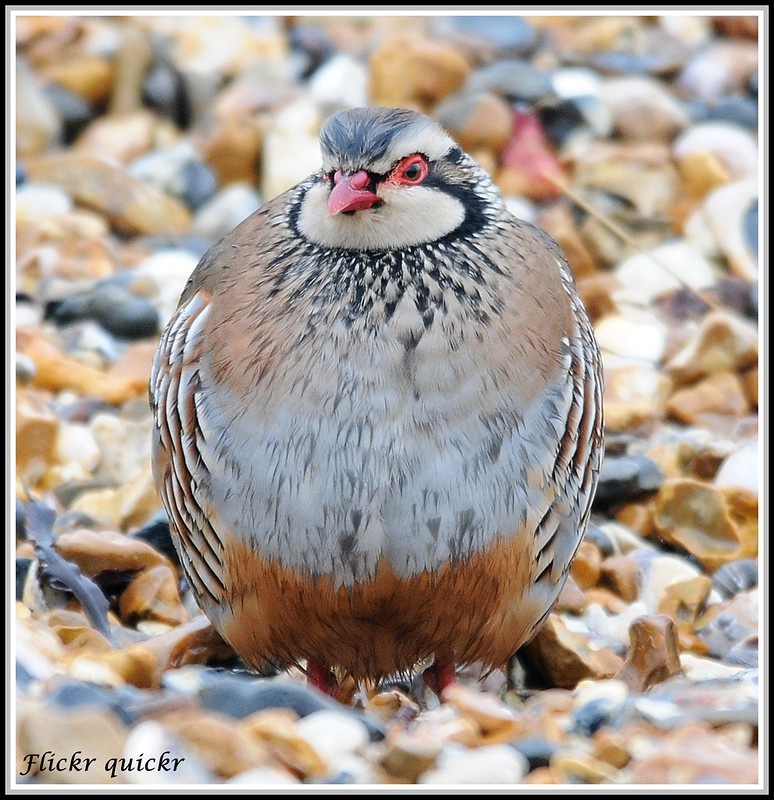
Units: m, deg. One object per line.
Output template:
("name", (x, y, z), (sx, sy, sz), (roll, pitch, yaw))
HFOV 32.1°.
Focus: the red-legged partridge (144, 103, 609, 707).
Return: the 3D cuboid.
("red-legged partridge", (0.009, 0.108, 3.178), (0.930, 1.326, 1.128), (1, 59, -2))
